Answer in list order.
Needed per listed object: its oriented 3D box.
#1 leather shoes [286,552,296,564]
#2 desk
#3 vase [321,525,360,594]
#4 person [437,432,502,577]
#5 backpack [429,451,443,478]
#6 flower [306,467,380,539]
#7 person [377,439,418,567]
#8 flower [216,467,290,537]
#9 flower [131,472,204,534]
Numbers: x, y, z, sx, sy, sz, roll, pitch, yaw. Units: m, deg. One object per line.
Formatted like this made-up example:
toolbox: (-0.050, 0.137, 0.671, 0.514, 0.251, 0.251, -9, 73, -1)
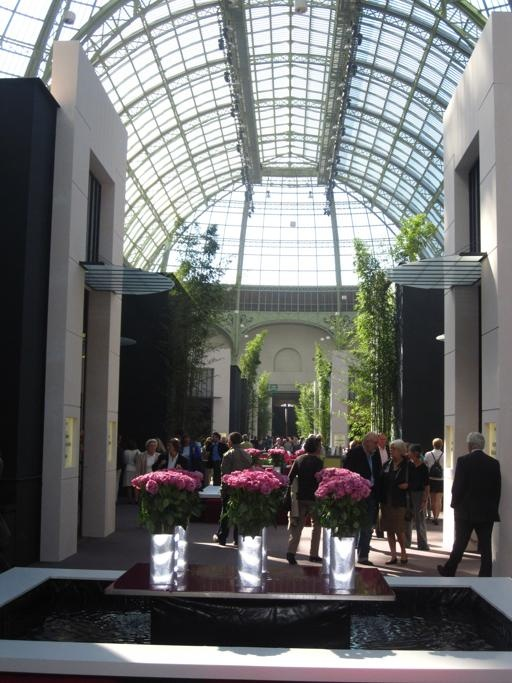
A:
leather shoes: (0.492, 2.893, 7.354, 0.081, 0.161, 0.224, 5, -16, -20)
desk: (-0.033, 1.721, 3.649, 1.788, 0.422, 0.848, 3, -7, 5)
vase: (0.555, 1.486, 3.710, 0.300, 0.493, 0.287, 0, -12, -2)
person: (2.374, 1.833, 6.097, 0.581, 1.610, 0.395, 0, -8, 23)
backpack: (3.682, 2.526, 11.272, 0.394, 0.495, 0.260, 3, -18, 5)
flower: (0.671, 1.095, 4.162, 0.440, 0.597, 0.511, 0, -1, 39)
person: (1.933, 2.252, 7.745, 0.400, 1.674, 0.547, 1, -8, 16)
flower: (-0.019, 1.281, 4.142, 0.444, 0.545, 0.501, 0, -1, 45)
flower: (-0.643, 1.127, 4.016, 0.423, 0.440, 0.440, 1, 5, -13)
